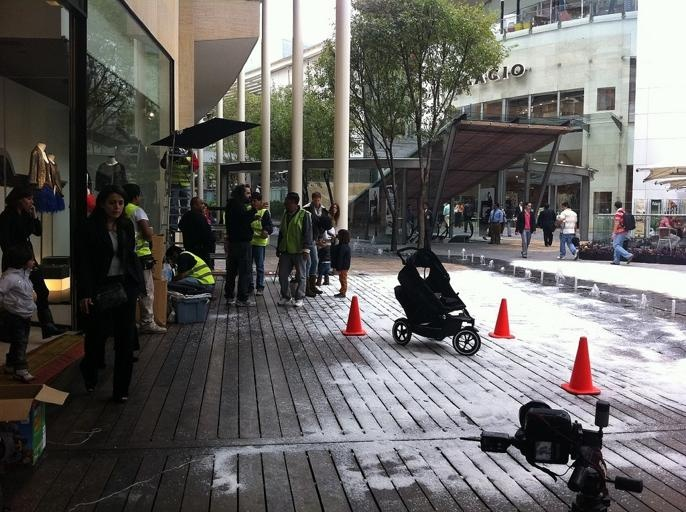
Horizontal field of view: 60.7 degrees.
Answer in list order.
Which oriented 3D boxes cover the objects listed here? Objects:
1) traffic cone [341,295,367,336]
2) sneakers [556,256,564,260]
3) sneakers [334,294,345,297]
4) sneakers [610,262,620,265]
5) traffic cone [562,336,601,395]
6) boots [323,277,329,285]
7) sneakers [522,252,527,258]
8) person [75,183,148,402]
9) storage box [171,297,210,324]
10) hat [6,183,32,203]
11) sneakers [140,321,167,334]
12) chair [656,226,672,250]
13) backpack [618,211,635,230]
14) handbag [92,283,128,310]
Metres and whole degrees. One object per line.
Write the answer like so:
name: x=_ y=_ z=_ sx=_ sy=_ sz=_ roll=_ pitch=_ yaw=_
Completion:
traffic cone: x=0.125 y=0.946 z=9.435 sx=0.483 sy=0.844 sz=0.523 roll=2 pitch=0 yaw=-1
sneakers: x=8.156 y=0.064 z=21.835 sx=0.110 sy=0.118 sz=0.262 roll=2 pitch=11 yaw=4
sneakers: x=-0.065 y=0.854 z=12.651 sx=0.157 sy=0.073 sz=0.080 roll=5 pitch=-3 yaw=10
sneakers: x=9.362 y=0.246 z=20.133 sx=0.308 sy=0.142 sz=0.119 roll=3 pitch=6 yaw=21
traffic cone: x=2.739 y=1.233 z=6.676 sx=0.433 sy=0.620 sz=0.403 roll=3 pitch=6 yaw=15
boots: x=-0.398 y=0.578 z=14.550 sx=0.154 sy=0.236 sz=0.448 roll=1 pitch=6 yaw=-2
sneakers: x=6.973 y=-0.043 z=22.444 sx=0.125 sy=0.205 sz=0.445 roll=-1 pitch=2 yaw=2
person: x=-2.433 y=0.389 z=6.182 sx=0.636 sy=2.250 sz=0.507 roll=-2 pitch=6 yaw=-24
storage box: x=-2.612 y=0.935 z=9.980 sx=0.385 sy=0.361 sz=0.487 roll=2 pitch=-6 yaw=-21
hat: x=-4.346 y=-0.855 z=7.873 sx=0.303 sy=0.277 sz=0.249 roll=-6 pitch=10 yaw=-4
sneakers: x=-2.913 y=1.083 z=9.048 sx=0.429 sy=0.237 sz=0.164 roll=-1 pitch=4 yaw=-14
chair: x=12.422 y=-0.711 z=22.597 sx=0.535 sy=1.028 sz=0.647 roll=2 pitch=4 yaw=35
backpack: x=9.674 y=-1.173 z=20.016 sx=0.375 sy=0.653 sz=0.574 roll=1 pitch=-4 yaw=-13
handbag: x=-2.374 y=0.414 z=6.006 sx=0.305 sy=0.237 sz=0.236 roll=-23 pitch=10 yaw=-6
